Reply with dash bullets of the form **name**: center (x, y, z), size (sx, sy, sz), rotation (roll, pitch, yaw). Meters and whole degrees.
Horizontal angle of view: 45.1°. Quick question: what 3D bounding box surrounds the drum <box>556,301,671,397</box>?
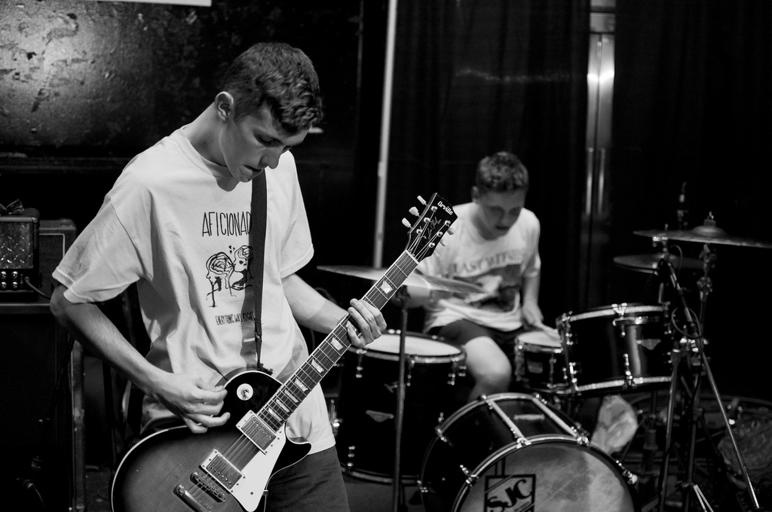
- **drum**: center (1.238, 0.555, 5.197), size (0.517, 0.354, 0.525), rotation (-7, -6, -1)

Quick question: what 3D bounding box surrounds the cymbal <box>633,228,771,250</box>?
- **cymbal**: center (1.798, -0.098, 5.206), size (0.308, 0.061, 0.312), rotation (9, -5, -13)

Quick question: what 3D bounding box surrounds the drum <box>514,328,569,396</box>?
- **drum**: center (0.878, 0.615, 5.351), size (0.299, 0.286, 0.302), rotation (1, 6, -3)

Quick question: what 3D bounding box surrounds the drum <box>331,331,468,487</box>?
- **drum**: center (0.057, 0.896, 5.726), size (0.817, 0.801, 0.814), rotation (5, 9, 2)

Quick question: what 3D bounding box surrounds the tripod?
- **tripod**: center (1.622, 0.753, 4.989), size (0.301, 1.397, 0.456), rotation (2, 5, 19)
